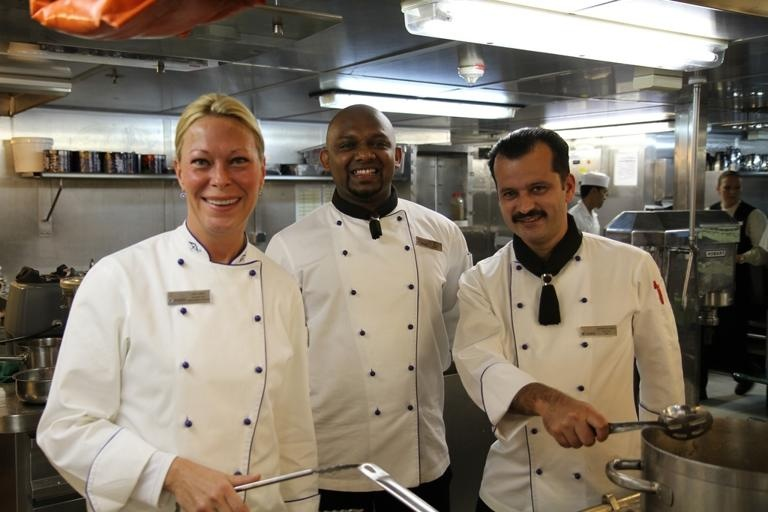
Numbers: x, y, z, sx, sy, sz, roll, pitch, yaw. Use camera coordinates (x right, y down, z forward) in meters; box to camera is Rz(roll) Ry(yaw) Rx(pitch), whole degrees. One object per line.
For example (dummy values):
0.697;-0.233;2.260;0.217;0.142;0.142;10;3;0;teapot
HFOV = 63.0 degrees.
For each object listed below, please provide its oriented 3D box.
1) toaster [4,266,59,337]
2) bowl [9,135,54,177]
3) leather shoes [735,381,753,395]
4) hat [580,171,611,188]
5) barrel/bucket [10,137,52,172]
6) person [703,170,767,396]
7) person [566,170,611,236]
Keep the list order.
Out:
-1.915;0.227;3.508;0.332;0.387;0.422;2;0;-17;toaster
-2.815;-0.811;5.118;0.294;0.235;0.321;1;0;0;bowl
3.338;1.211;5.853;0.128;0.138;0.241;0;4;32;leather shoes
2.028;-0.726;6.057;0.191;0.098;0.188;3;5;13;hat
-2.798;-0.813;5.106;0.316;0.240;0.275;1;1;7;barrel/bucket
3.296;0.228;5.891;0.488;2.096;0.801;0;5;32;person
1.993;-0.489;6.211;0.431;0.701;0.779;6;8;22;person
